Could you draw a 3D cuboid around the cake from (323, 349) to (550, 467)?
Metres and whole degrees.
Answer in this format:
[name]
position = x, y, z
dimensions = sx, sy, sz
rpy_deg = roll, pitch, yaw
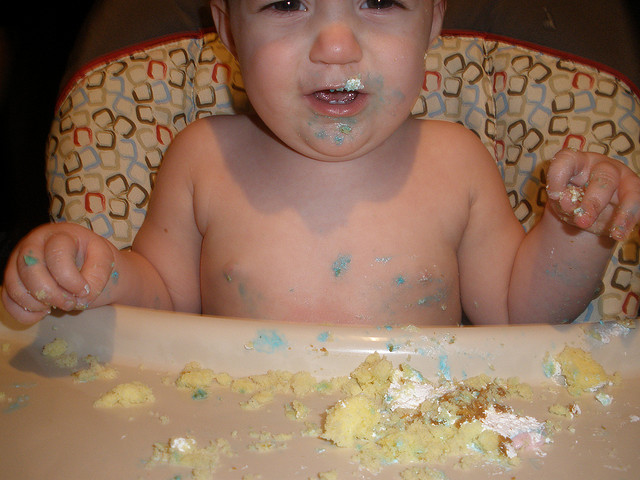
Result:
[cake]
position = 0.144, 0.228, 0.737
dimensions = 0.169, 0.031, 0.153
rpy_deg = 6, 34, 11
